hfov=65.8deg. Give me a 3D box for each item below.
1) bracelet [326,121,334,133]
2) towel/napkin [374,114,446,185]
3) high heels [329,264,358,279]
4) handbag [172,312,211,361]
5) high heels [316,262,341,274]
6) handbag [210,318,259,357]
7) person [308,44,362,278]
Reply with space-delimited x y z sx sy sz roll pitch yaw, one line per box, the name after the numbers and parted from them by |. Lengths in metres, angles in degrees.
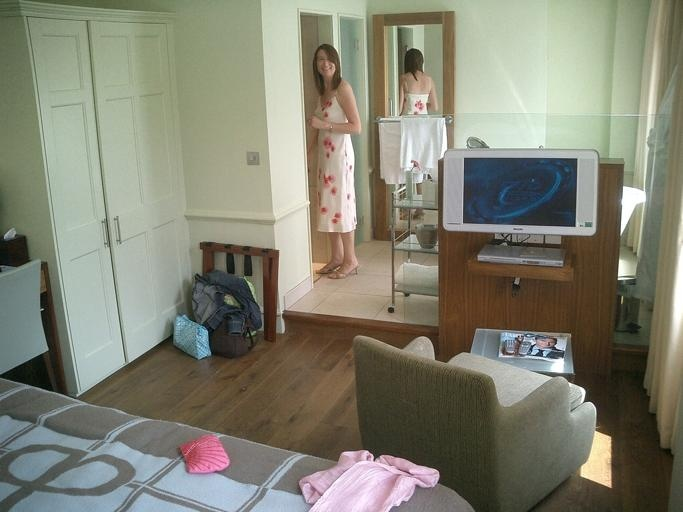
-0.103 -1.165 4.759 0.046 0.074 0.072 3 -1 1 | bracelet
0.524 -0.831 4.191 0.584 0.533 0.237 11 21 38 | towel/napkin
0.030 0.160 5.303 0.255 0.067 0.121 -12 15 -43 | high heels
-1.244 0.652 4.319 0.350 0.244 0.135 14 14 33 | handbag
-0.139 0.108 5.375 0.256 0.108 0.101 -3 4 -16 | high heels
-0.884 0.668 4.322 0.347 0.345 0.255 0 -8 4 | handbag
-0.057 -0.844 5.000 0.447 2.159 0.405 -4 16 -3 | person
